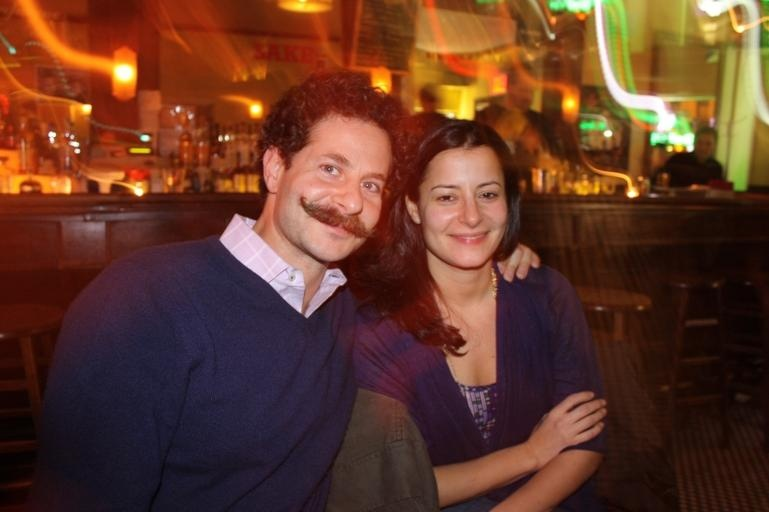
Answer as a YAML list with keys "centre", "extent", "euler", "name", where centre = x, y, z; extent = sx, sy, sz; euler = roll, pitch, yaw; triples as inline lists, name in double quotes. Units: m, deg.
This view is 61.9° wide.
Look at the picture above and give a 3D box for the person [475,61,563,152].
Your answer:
- centre: [1.599, -1.645, 7.855]
  extent: [1.056, 1.277, 1.379]
  euler: [0, -8, 4]
  name: "person"
